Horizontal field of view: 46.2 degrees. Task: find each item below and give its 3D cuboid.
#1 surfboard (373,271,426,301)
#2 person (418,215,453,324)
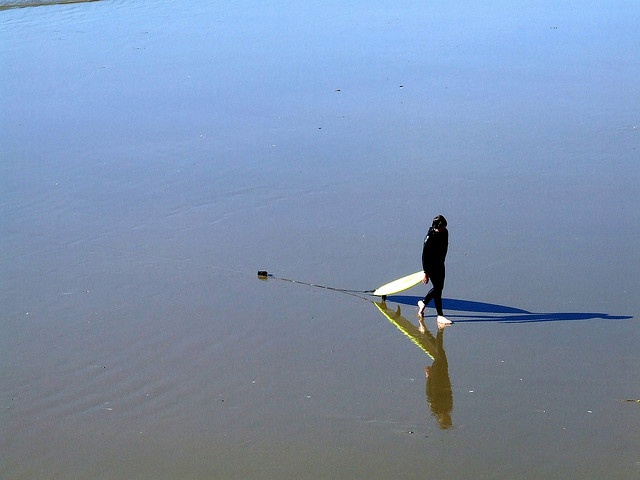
[{"bbox_3d":[1.242,0.695,11.691,0.880,0.145,0.326,-22,35,12],"label":"surfboard"},{"bbox_3d":[1.665,0.373,11.215,0.516,1.531,1.050,-4,30,10],"label":"person"}]
